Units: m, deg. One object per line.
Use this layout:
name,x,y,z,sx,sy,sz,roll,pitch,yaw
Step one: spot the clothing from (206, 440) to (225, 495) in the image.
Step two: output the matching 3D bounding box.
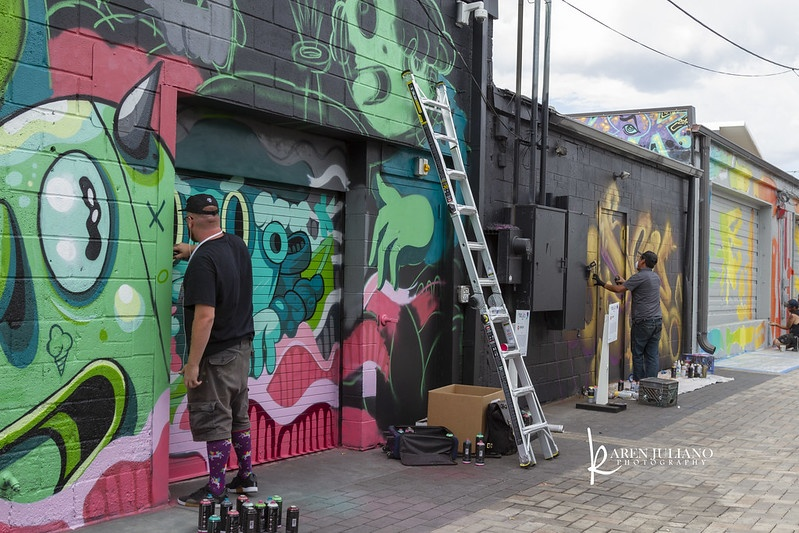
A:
clothing,-1.623,1.801,4.998,0.197,0.497,0.117,-2,-4,-21

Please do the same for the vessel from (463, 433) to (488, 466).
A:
vessel,0.871,2.145,6.510,0.261,0.353,0.135,-4,-11,31

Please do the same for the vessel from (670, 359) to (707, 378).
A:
vessel,6.239,2.236,12.011,0.484,0.212,0.483,1,-1,-23

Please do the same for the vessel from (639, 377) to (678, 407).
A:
vessel,4.472,2.129,9.584,0.466,0.373,0.485,2,2,39

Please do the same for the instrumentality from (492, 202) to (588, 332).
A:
instrumentality,2.437,0.070,9.124,2.272,2.045,0.479,2,1,-45

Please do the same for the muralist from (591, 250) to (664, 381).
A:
muralist,4.198,1.042,10.721,1.331,2.552,1.247,3,3,-4

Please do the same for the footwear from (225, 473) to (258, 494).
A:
footwear,-1.571,2.106,5.465,0.355,0.164,0.145,1,-3,24

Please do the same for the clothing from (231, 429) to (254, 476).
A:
clothing,-1.501,1.833,5.333,0.195,0.491,0.189,-9,-10,14

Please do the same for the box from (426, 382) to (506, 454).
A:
box,0.709,1.787,6.903,0.615,0.518,0.583,1,-12,-44

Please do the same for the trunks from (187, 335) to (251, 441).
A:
trunks,-1.646,1.152,5.127,0.566,0.927,0.323,-1,-4,-28
